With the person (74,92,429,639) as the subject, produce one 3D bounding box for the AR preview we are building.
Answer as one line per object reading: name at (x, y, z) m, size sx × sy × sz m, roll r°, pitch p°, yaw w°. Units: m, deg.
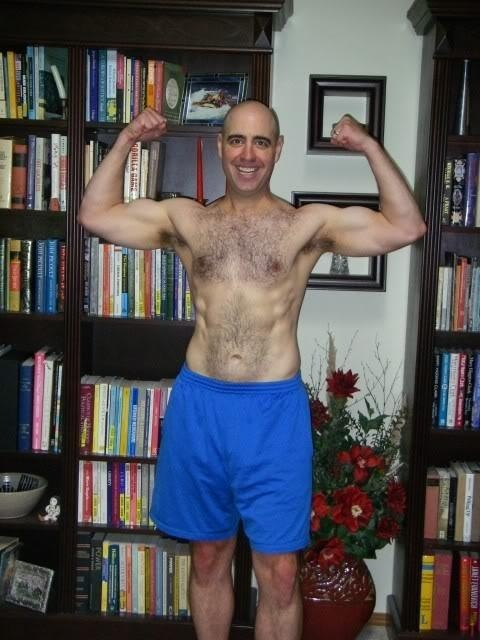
person at (0.001, 0.190, 1.469) m, size 0.809 × 1.418 × 0.247 m, roll 4°, pitch 6°, yaw 22°
